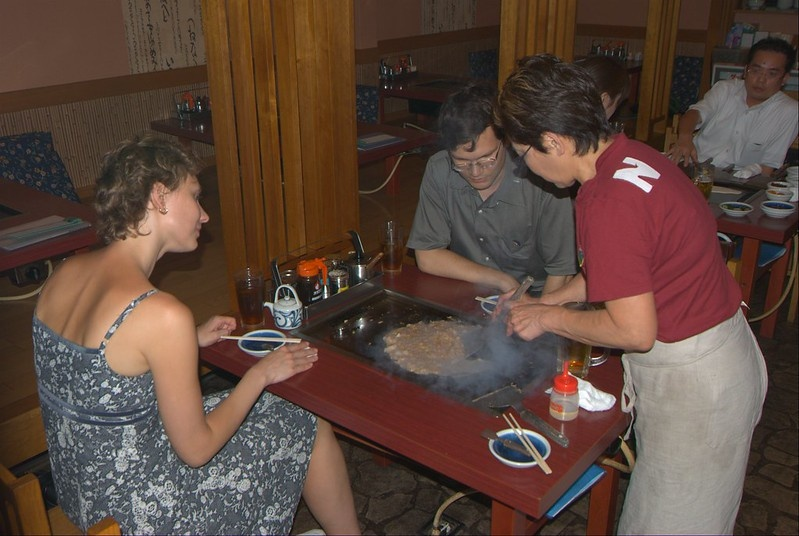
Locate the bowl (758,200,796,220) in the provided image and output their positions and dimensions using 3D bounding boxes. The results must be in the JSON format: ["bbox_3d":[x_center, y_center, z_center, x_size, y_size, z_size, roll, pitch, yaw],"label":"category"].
[{"bbox_3d":[2.223,-0.371,3.543,0.135,0.054,0.133,-4,24,2],"label":"bowl"}]

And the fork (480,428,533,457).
[{"bbox_3d":[0.350,0.585,1.996,0.060,0.032,0.216,-22,29,-33],"label":"fork"}]

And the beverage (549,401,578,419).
[{"bbox_3d":[0.570,0.491,2.094,0.074,0.074,0.075,-9,24,-19],"label":"beverage"}]

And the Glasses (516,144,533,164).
[{"bbox_3d":[0.433,-0.400,2.080,0.051,0.054,0.016,-5,35,-30],"label":"Glasses"}]

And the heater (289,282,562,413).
[{"bbox_3d":[0.115,0.322,2.432,0.742,0.104,0.468,20,33,34],"label":"heater"}]
